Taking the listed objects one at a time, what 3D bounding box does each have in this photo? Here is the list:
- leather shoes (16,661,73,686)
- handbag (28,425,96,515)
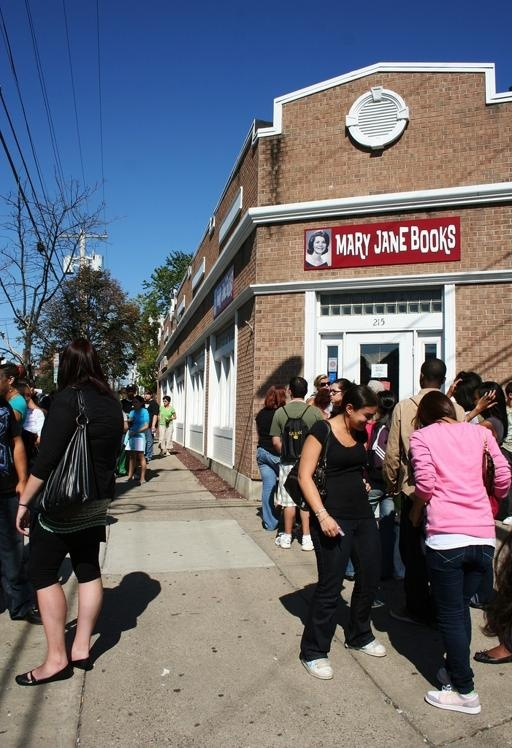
[{"bbox_3d":[-1.103,1.541,3.026,0.237,0.078,0.105,7,-9,-17],"label":"leather shoes"},{"bbox_3d":[-0.971,0.491,2.942,0.241,0.512,0.233,-15,-32,32],"label":"handbag"}]
